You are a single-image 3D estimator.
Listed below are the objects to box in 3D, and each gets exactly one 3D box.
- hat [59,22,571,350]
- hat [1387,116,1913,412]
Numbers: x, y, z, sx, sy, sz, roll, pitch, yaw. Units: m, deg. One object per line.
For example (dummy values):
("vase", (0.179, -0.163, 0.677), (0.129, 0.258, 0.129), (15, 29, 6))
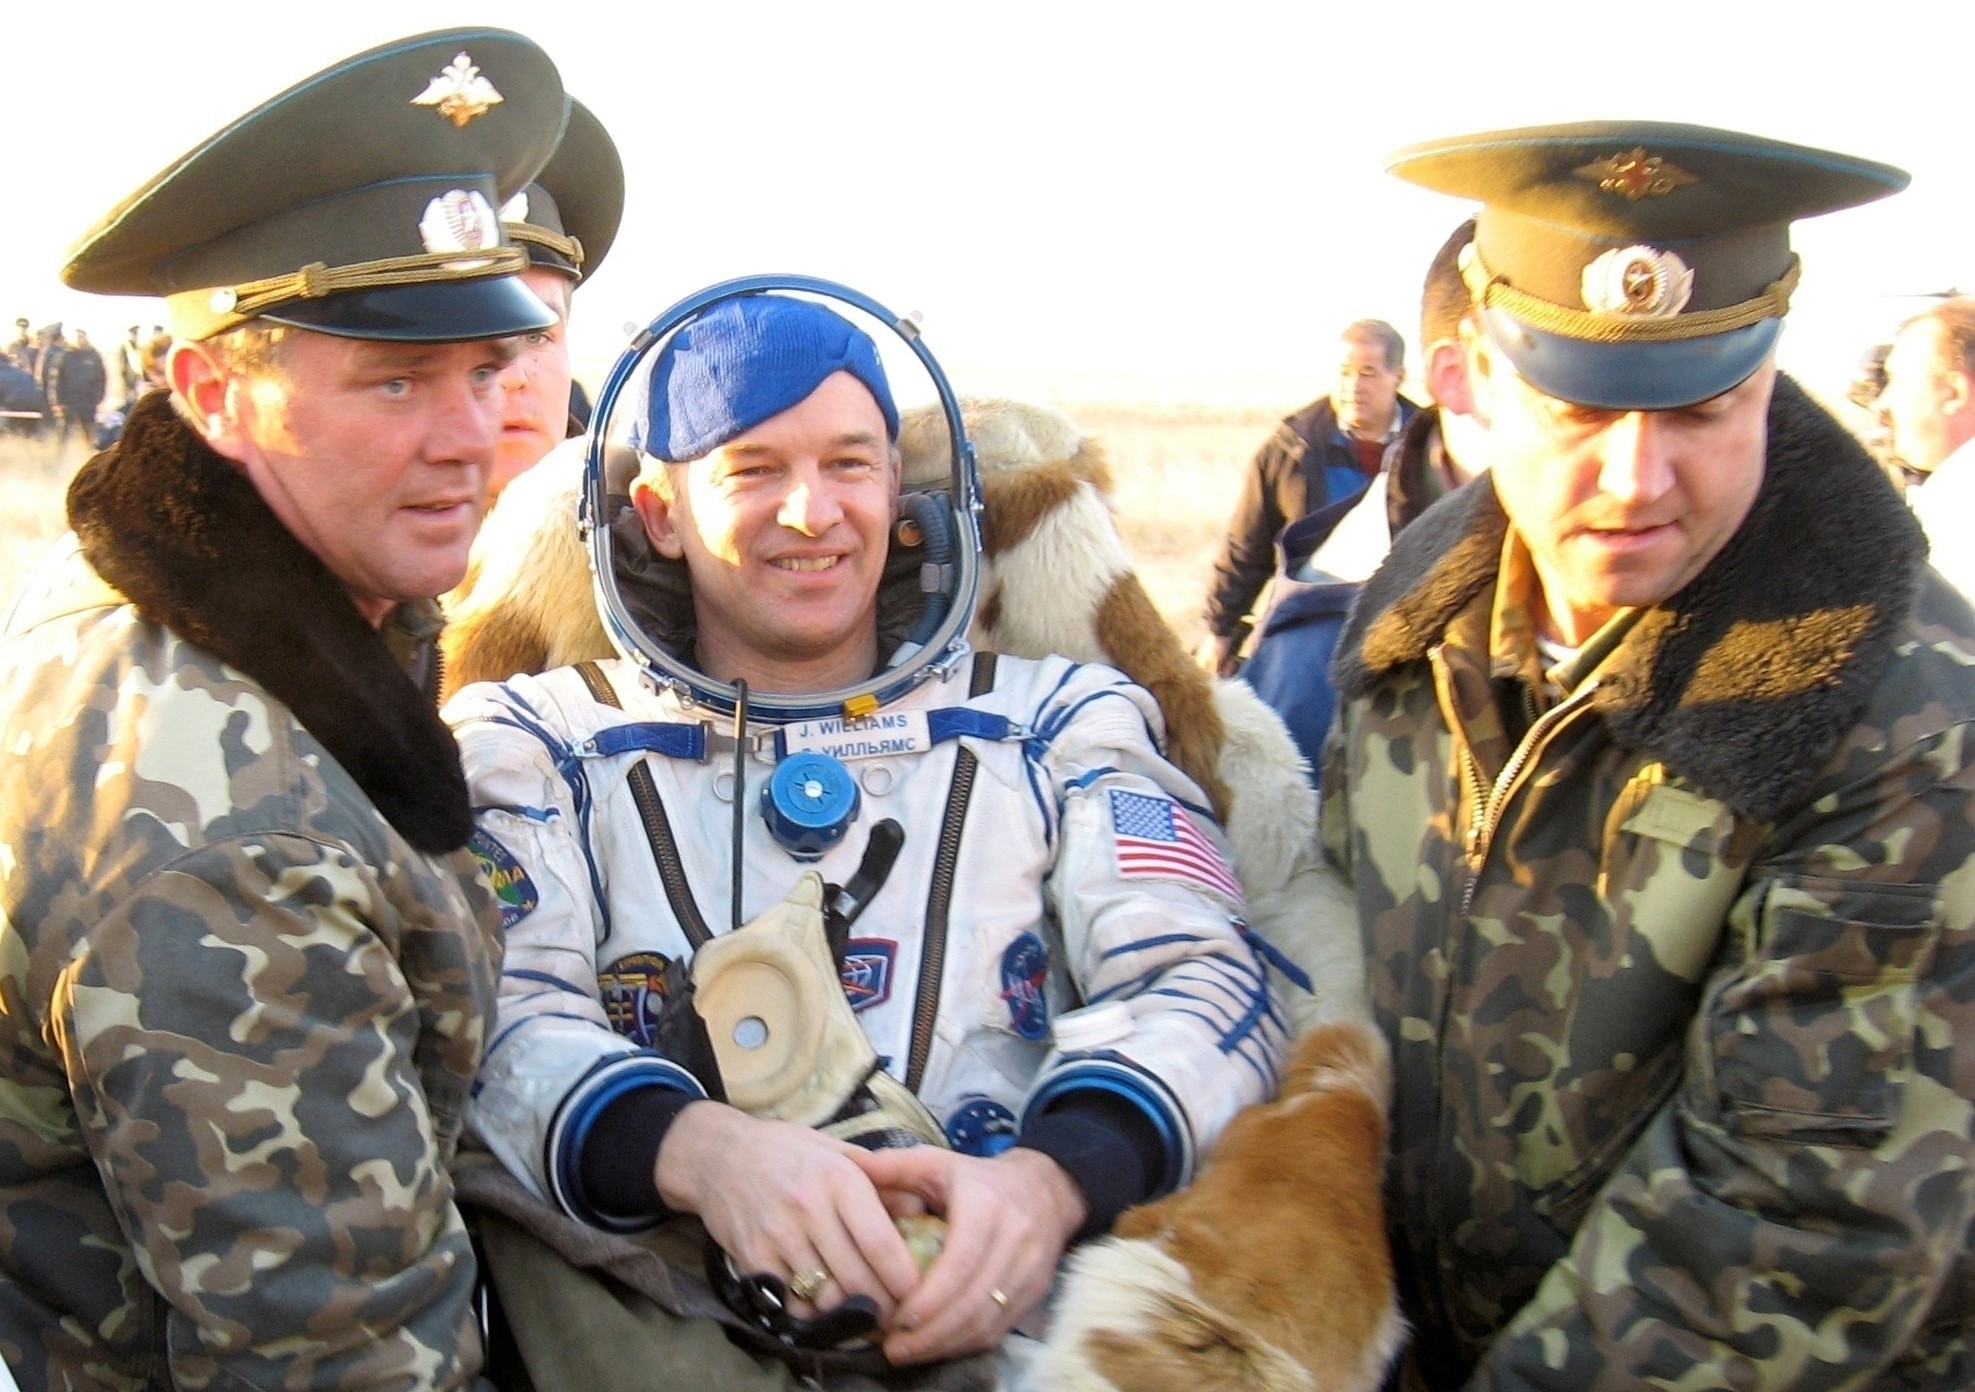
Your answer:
("hat", (-0.999, -0.775, 2.637), (0.755, 0.443, 0.749), (11, 24, 39))
("hat", (1.070, -0.732, 2.855), (0.769, 0.415, 0.710), (-8, 19, -22))
